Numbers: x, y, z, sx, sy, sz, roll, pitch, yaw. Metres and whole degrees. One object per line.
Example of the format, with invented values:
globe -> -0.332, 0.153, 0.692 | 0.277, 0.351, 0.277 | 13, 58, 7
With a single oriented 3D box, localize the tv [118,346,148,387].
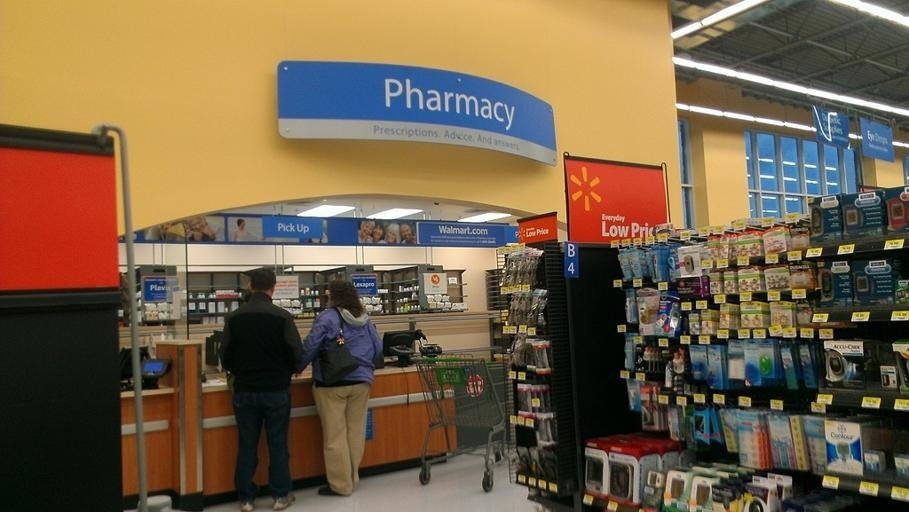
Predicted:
tv -> -3.478, 1.233, 7.800 | 0.298, 0.444, 0.730 | -1, -3, -25

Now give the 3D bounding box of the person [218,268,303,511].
person -> -2.052, 1.421, 7.644 | 0.854, 2.573, 0.401 | -2, -4, -16

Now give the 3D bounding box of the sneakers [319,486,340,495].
sneakers -> -1.391, 2.616, 7.922 | 0.283, 0.083, 0.089 | -4, -4, 32

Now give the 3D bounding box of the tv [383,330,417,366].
tv -> -0.683, 1.168, 8.925 | 0.441, 0.406, 0.231 | 1, -5, -18

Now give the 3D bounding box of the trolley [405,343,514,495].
trolley -> 0.104, 1.870, 8.467 | 1.080, 1.555, 1.545 | -3, -3, -1

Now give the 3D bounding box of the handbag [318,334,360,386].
handbag -> -1.286, 1.172, 7.844 | 0.418, 0.511, 0.205 | -26, -13, -19
